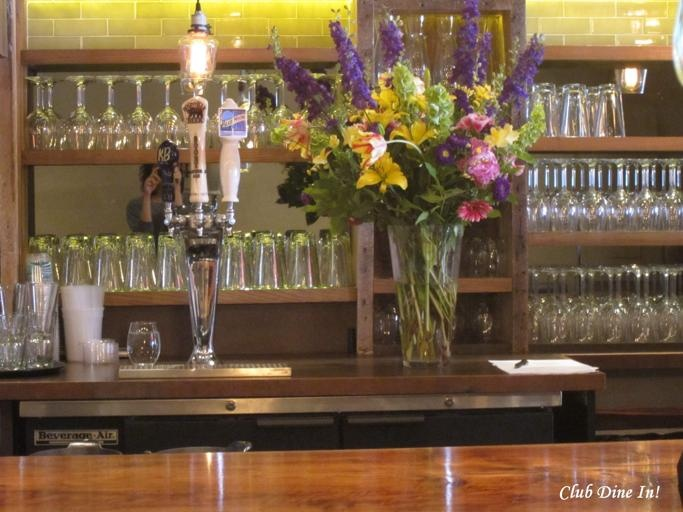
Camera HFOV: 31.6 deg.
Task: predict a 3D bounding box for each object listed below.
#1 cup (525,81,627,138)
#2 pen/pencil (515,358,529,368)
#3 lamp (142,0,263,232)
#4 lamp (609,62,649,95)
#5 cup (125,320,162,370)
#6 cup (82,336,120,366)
[{"bbox_3d":[1.071,-0.664,5.540,0.438,0.266,0.248,-2,3,-4],"label":"cup"},{"bbox_3d":[0.739,0.439,4.972,0.027,0.026,0.070,24,39,38],"label":"pen/pencil"},{"bbox_3d":[-0.646,-0.659,5.303,0.491,1.155,0.983,-1,-2,-9],"label":"lamp"},{"bbox_3d":[1.369,-0.845,5.725,0.148,0.147,0.149,0,-5,6],"label":"lamp"},{"bbox_3d":[-0.837,0.364,5.088,0.166,0.183,0.169,1,-3,0],"label":"cup"},{"bbox_3d":[-1.037,0.410,5.271,0.178,0.109,0.149,-1,-2,-29],"label":"cup"}]
